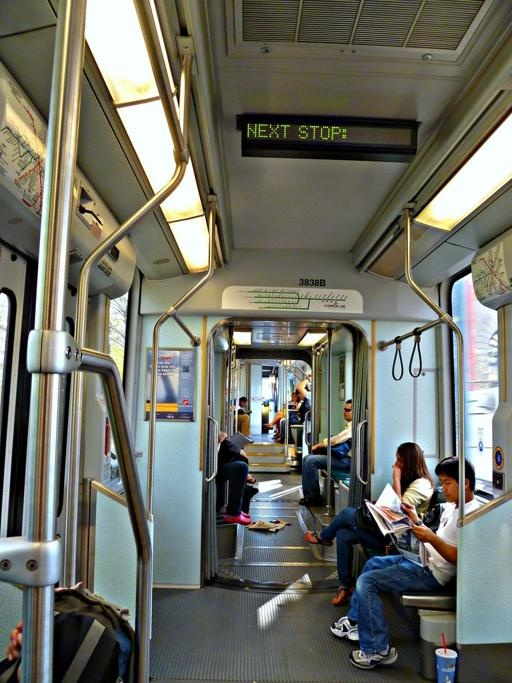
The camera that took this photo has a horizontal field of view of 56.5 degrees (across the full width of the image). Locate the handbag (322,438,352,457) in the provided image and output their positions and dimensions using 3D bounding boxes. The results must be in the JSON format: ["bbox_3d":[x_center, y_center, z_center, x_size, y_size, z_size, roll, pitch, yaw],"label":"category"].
[{"bbox_3d":[1.280,1.647,7.452,0.380,0.158,0.311,-24,19,37],"label":"handbag"}]

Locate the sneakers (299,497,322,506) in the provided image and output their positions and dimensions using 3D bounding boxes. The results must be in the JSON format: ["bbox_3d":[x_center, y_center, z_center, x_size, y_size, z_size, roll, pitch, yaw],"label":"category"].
[{"bbox_3d":[0.896,2.613,7.765,0.386,0.174,0.138,4,-13,2],"label":"sneakers"}]

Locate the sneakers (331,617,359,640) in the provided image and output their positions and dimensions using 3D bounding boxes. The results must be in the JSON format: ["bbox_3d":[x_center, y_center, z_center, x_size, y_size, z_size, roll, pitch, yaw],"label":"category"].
[{"bbox_3d":[0.672,2.120,3.561,0.100,0.136,0.252,13,-15,-38],"label":"sneakers"}]

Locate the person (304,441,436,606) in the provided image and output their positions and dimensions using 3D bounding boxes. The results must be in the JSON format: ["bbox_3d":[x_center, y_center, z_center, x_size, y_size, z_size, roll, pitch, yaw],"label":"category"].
[{"bbox_3d":[1.004,1.658,4.300,1.108,1.555,0.579,4,-17,16],"label":"person"}]

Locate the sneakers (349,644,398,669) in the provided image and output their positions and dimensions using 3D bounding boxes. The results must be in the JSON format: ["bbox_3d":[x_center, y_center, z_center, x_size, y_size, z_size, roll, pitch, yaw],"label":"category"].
[{"bbox_3d":[0.782,2.093,3.223,0.319,0.166,0.123,4,-5,-6],"label":"sneakers"}]

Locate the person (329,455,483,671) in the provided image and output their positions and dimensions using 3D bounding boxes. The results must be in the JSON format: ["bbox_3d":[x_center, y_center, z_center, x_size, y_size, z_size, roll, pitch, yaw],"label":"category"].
[{"bbox_3d":[1.067,1.511,3.387,0.824,1.459,0.546,8,-5,6],"label":"person"}]

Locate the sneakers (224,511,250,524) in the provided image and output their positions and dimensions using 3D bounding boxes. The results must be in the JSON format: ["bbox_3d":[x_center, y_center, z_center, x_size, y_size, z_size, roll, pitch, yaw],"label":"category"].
[{"bbox_3d":[-0.242,2.245,6.074,0.373,0.177,0.141,7,-7,-8],"label":"sneakers"}]

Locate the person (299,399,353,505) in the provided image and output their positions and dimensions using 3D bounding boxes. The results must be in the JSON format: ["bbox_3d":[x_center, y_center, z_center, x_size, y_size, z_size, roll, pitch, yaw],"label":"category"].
[{"bbox_3d":[1.241,1.782,7.743,0.819,1.733,0.717,11,-11,-6],"label":"person"}]
